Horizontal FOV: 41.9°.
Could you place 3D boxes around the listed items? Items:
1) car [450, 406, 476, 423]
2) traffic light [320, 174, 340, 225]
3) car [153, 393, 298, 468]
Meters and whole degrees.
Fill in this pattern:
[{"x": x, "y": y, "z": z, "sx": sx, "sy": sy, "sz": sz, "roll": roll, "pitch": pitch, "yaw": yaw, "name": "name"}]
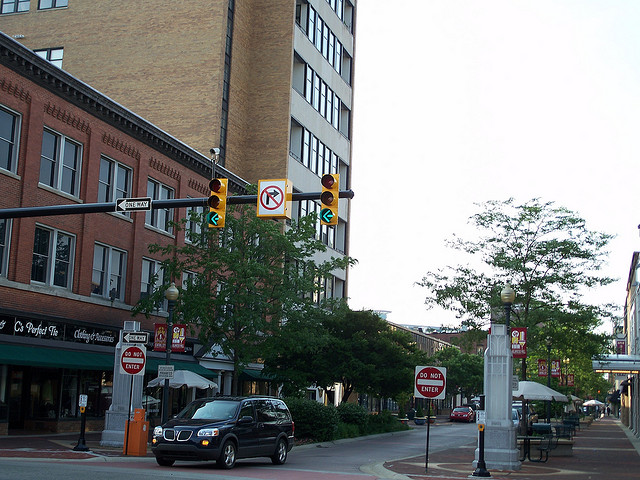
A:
[{"x": 13.293, "y": 16.310, "z": 78.768, "sx": 1.974, "sy": 1.525, "sz": 3.031, "roll": -3, "pitch": -15, "yaw": 14, "name": "car"}, {"x": 0.262, "y": -1.253, "z": 25.068, "sx": 0.571, "sy": 1.827, "sz": 1.103, "roll": 1, "pitch": -15, "yaw": 0, "name": "traffic light"}, {"x": -3.341, "y": 6.778, "z": 29.960, "sx": 2.036, "sy": 2.564, "sz": 4.911, "roll": -13, "pitch": -20, "yaw": 40, "name": "car"}]
